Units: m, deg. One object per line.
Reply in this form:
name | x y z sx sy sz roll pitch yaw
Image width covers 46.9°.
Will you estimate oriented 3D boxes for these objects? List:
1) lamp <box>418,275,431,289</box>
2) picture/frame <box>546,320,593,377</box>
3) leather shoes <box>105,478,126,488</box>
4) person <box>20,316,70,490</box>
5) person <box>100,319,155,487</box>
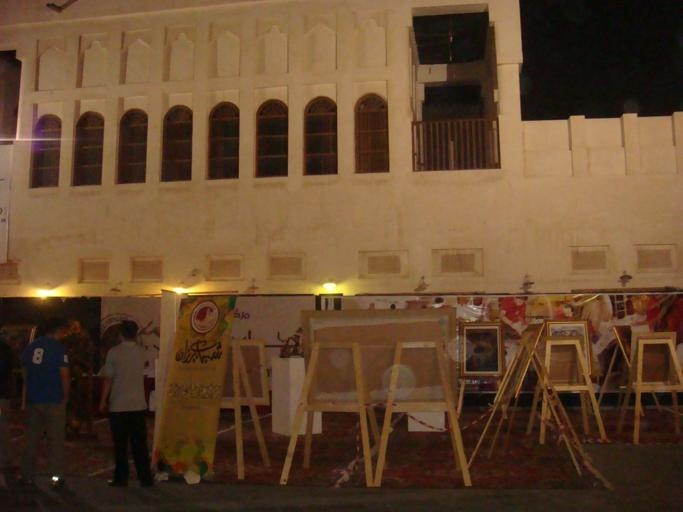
lamp | 2.022 0.643 19.020 0.214 0.313 0.082 4 1 7
picture/frame | 4.597 1.818 15.659 0.833 1.072 3.318 -3 -8 17
leather shoes | -3.620 3.639 12.627 0.309 0.143 0.120 5 -8 12
person | -4.820 2.337 12.761 0.738 2.628 0.325 1 -8 -13
person | -3.440 2.358 12.660 0.838 2.621 0.357 2 -8 -17
